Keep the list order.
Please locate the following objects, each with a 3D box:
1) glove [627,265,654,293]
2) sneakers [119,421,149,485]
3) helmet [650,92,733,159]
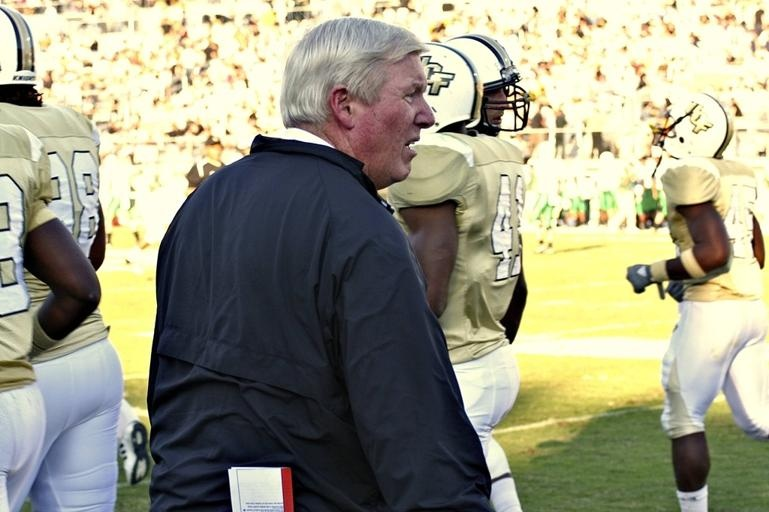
[{"bbox_3d":[1.902,0.163,10.604,0.147,0.223,0.074,-3,-11,23],"label":"glove"},{"bbox_3d":[-1.789,1.406,10.451,0.205,0.511,0.172,0,11,33],"label":"sneakers"},{"bbox_3d":[2.305,-0.946,10.757,0.516,0.514,0.412,-29,17,12],"label":"helmet"}]
